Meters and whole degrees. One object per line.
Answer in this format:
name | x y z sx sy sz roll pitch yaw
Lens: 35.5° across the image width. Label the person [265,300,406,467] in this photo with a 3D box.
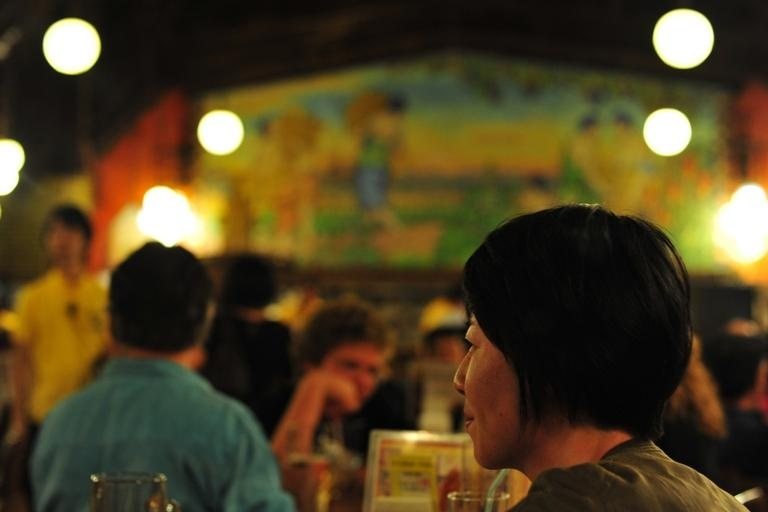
person | -0.226 0.619 5.312 0.667 0.916 0.619 6 -17 -20
